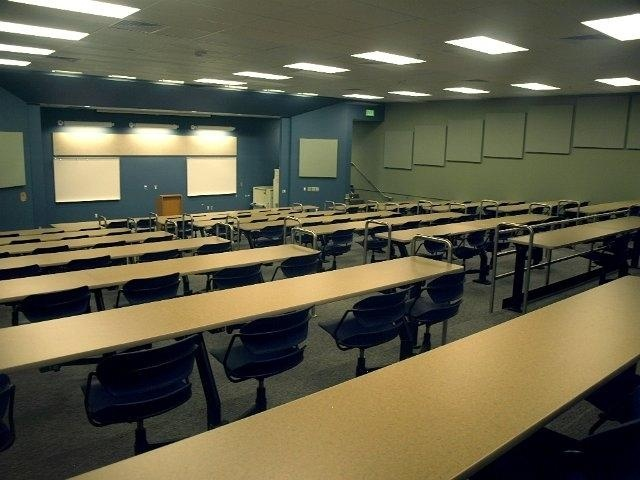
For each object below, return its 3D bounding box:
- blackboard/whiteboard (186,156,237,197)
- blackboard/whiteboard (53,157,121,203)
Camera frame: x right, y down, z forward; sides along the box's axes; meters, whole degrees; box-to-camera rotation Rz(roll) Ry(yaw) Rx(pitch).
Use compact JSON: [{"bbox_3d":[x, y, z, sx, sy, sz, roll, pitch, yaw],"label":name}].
[{"bbox_3d":[-3.666,-2.117,15.235,1.750,0.997,0.059,-6,14,-33],"label":"blackboard/whiteboard"},{"bbox_3d":[-6.619,-1.702,12.954,1.650,0.950,0.130,-5,8,-38],"label":"blackboard/whiteboard"}]
